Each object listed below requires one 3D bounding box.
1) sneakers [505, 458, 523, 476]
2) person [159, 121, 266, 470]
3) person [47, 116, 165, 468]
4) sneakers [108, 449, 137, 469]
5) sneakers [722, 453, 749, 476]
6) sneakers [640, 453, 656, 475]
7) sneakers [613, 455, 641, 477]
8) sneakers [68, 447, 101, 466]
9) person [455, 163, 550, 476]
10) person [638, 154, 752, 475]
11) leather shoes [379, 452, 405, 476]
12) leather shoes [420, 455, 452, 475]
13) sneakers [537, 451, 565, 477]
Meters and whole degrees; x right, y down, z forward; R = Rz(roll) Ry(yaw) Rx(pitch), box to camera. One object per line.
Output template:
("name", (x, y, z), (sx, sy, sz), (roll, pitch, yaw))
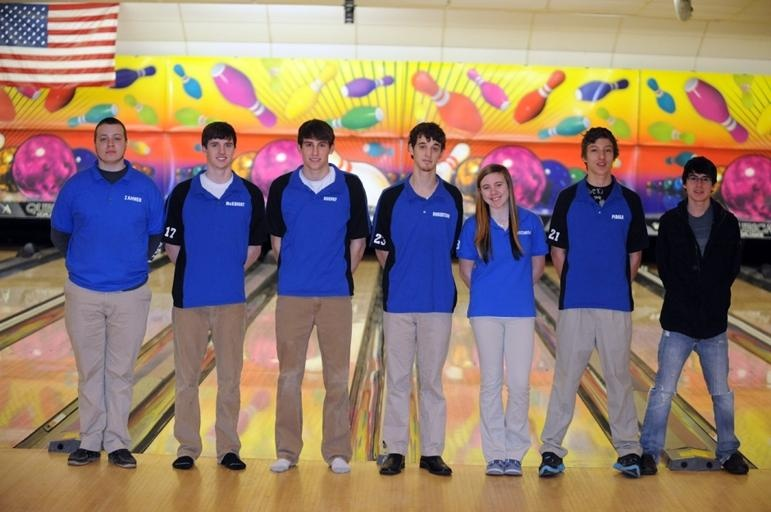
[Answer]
("sneakers", (0.794, 1.303, 3.471), (0.113, 0.089, 0.080), (2, 9, 7))
("person", (-1.078, 0.219, 3.549), (0.647, 2.116, 0.586), (-2, 10, -16))
("person", (-1.758, 0.334, 3.506), (0.680, 1.846, 0.521), (-1, 9, -13))
("sneakers", (-1.630, 1.248, 3.454), (0.198, 0.081, 0.085), (2, 3, 35))
("sneakers", (2.203, 1.300, 3.508), (0.142, 0.099, 0.112), (-1, 9, -15))
("sneakers", (1.656, 1.309, 3.517), (0.097, 0.084, 0.143), (6, 10, 26))
("sneakers", (1.512, 1.298, 3.509), (0.078, 0.090, 0.213), (2, 1, 4))
("sneakers", (-1.866, 1.228, 3.447), (0.079, 0.069, 0.178), (-1, -10, 35))
("person", (0.708, 0.376, 3.552), (0.559, 1.894, 0.538), (3, 9, 14))
("person", (2.005, 0.359, 3.562), (0.655, 1.955, 0.600), (3, 9, 11))
("leather shoes", (0.038, 1.279, 3.461), (0.157, 0.103, 0.113), (1, 9, 0))
("leather shoes", (0.312, 1.299, 3.514), (0.083, 0.088, 0.206), (2, -2, -40))
("sneakers", (1.038, 1.294, 3.487), (0.158, 0.115, 0.152), (4, 9, 17))
